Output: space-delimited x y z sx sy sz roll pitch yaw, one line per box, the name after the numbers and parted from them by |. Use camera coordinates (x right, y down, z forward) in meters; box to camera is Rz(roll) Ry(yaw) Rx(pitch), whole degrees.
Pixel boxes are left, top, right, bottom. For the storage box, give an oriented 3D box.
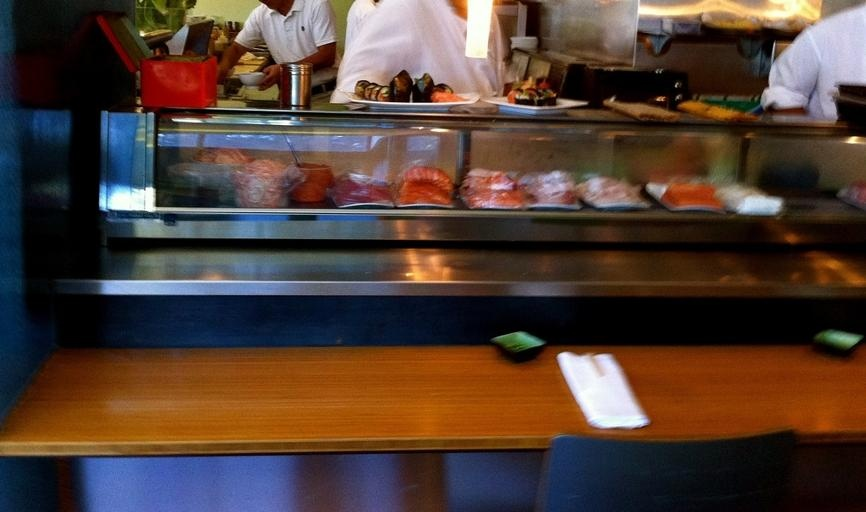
-0.803 -0.667 2.451 0.518 0.333 0.309 -1 23 -6 | storage box

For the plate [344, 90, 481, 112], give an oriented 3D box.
-0.063 -0.588 2.656 0.533 0.074 0.426 -3 17 -13 | plate

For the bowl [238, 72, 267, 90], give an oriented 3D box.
-0.633 -0.615 2.540 0.075 0.035 0.065 0 19 18 | bowl

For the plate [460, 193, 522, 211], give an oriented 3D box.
0.216 -0.176 2.428 0.141 0.025 0.080 6 -5 -1 | plate

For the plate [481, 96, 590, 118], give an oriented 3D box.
0.319 -0.519 2.531 0.177 0.021 0.176 13 21 41 | plate

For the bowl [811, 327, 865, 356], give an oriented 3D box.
1.367 0.280 2.461 0.109 0.029 0.121 -13 16 -16 | bowl
